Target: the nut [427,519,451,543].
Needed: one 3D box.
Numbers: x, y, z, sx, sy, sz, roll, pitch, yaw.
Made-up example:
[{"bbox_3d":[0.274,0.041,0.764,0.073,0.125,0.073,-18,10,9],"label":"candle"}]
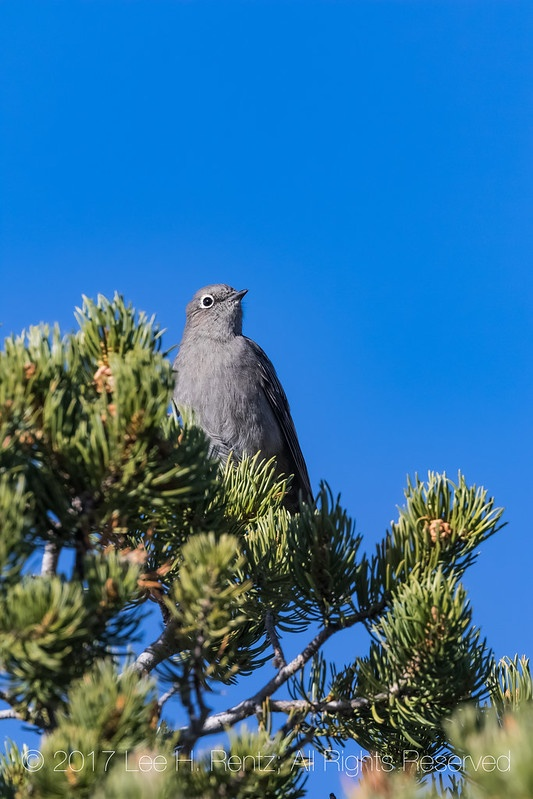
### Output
[{"bbox_3d":[0.498,0.365,3.641,0.045,0.038,0.067,-13,27,-5],"label":"nut"}]
